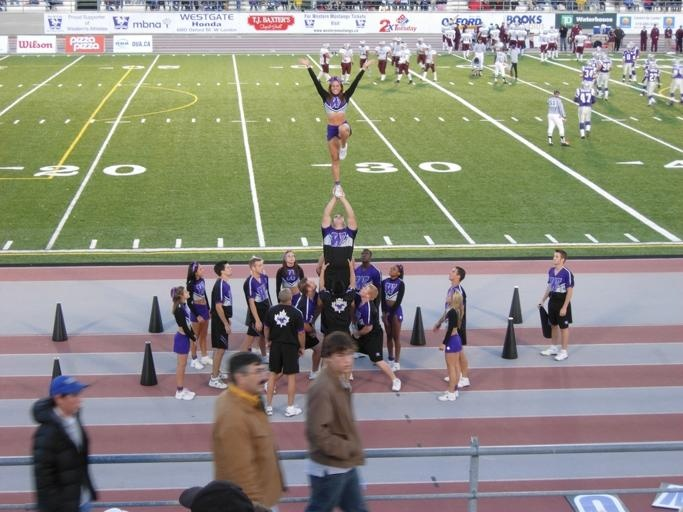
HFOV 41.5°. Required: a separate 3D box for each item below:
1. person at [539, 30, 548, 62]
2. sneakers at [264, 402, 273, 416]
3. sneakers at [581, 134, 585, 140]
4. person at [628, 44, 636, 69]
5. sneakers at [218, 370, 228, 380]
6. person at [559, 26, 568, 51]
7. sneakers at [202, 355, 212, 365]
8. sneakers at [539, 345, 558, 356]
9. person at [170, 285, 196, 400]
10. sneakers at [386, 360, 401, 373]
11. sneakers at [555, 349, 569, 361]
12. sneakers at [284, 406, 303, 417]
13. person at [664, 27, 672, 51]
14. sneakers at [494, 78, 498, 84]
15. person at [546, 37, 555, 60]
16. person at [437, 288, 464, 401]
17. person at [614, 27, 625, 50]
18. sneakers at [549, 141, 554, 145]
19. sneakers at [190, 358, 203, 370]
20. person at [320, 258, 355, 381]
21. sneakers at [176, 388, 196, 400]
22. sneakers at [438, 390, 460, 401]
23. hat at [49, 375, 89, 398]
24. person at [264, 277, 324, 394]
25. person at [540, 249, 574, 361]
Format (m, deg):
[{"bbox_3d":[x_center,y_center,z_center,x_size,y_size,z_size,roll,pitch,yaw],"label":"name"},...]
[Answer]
[{"bbox_3d":[10.193,-10.454,45.484,0.373,1.270,0.933,1,18,13],"label":"person"},{"bbox_3d":[-1.080,2.301,13.552,0.138,0.140,0.388,0,1,-11],"label":"sneakers"},{"bbox_3d":[7.874,-3.870,29.449,0.141,0.120,0.304,1,13,5],"label":"sneakers"},{"bbox_3d":[12.657,-8.604,39.140,0.291,0.993,1.687,3,17,17],"label":"person"},{"bbox_3d":[-1.902,1.931,14.608,0.109,0.103,0.283,3,8,10],"label":"sneakers"},{"bbox_3d":[12.517,-12.249,50.851,0.390,1.309,1.628,2,17,14],"label":"person"},{"bbox_3d":[-2.238,1.734,15.020,0.218,0.138,0.096,-7,18,-15],"label":"sneakers"},{"bbox_3d":[3.515,1.603,15.403,0.361,0.143,0.142,0,6,8],"label":"sneakers"},{"bbox_3d":[-2.482,1.270,14.059,0.399,1.723,0.962,-6,18,-10],"label":"person"},{"bbox_3d":[0.838,1.795,14.668,0.178,0.179,0.450,1,-9,11],"label":"sneakers"},{"bbox_3d":[3.702,1.665,15.206,0.119,0.120,0.315,-4,-2,33],"label":"sneakers"},{"bbox_3d":[-0.711,2.306,13.496,0.122,0.112,0.276,11,15,44],"label":"sneakers"},{"bbox_3d":[18.736,-12.425,51.791,0.439,1.267,2.441,3,17,18],"label":"person"},{"bbox_3d":[6.649,-7.532,38.916,0.169,0.196,0.464,-1,10,6],"label":"sneakers"},{"bbox_3d":[10.737,-10.601,46.073,0.616,0.928,0.271,3,21,-2],"label":"person"},{"bbox_3d":[1.674,1.363,13.872,0.397,1.697,0.580,-1,18,7],"label":"person"},{"bbox_3d":[15.356,-11.993,50.050,0.473,1.256,1.437,2,17,16],"label":"person"},{"bbox_3d":[6.642,-3.554,28.602,0.091,0.107,0.116,-2,14,4],"label":"sneakers"},{"bbox_3d":[-2.392,1.793,14.951,0.115,0.116,0.303,-8,-1,-30],"label":"sneakers"},{"bbox_3d":[-0.046,0.972,14.131,0.672,1.686,0.579,-2,29,-1],"label":"person"},{"bbox_3d":[-2.404,2.131,13.938,0.267,0.103,0.164,1,17,3],"label":"sneakers"},{"bbox_3d":[1.666,2.179,13.988,0.356,0.131,0.121,0,1,10],"label":"sneakers"},{"bbox_3d":[-2.886,1.379,9.544,0.344,0.156,0.210,0,7,-12],"label":"hat"},{"bbox_3d":[-0.689,1.289,14.245,1.114,1.764,0.706,-18,24,-25],"label":"person"},{"bbox_3d":[3.686,0.768,15.470,0.527,1.831,1.284,1,18,13],"label":"person"}]
